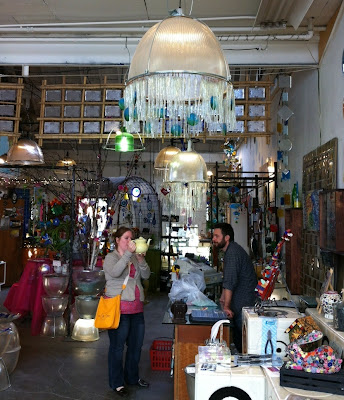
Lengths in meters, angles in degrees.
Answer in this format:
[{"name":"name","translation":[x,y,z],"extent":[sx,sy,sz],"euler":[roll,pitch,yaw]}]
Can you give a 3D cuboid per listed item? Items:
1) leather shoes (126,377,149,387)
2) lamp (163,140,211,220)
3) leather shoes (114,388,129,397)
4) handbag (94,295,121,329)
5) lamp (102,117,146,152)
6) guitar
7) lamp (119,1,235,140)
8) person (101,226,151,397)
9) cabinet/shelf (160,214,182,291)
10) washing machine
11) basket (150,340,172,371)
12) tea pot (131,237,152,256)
[{"name":"leather shoes","translation":[-0.324,1.764,3.407],"extent":[0.218,0.099,0.084],"euler":[-1,-6,2]},{"name":"lamp","translation":[0.138,-0.202,2.967],"extent":[0.334,0.679,0.365],"euler":[1,3,17]},{"name":"leather shoes","translation":[-0.446,1.729,3.185],"extent":[0.112,0.049,0.057],"euler":[-5,-5,30]},{"name":"handbag","translation":[-0.553,0.932,3.028],"extent":[0.186,0.290,0.108],"euler":[8,18,-17]},{"name":"lamp","translation":[-0.660,-0.955,4.853],"extent":[0.498,0.620,0.513],"euler":[-10,14,-30]},{"name":"guitar","translation":[0.604,0.397,2.128],"extent":[0.129,0.453,0.096],"euler":[11,0,2]},{"name":"lamp","translation":[0.022,-0.548,1.540],"extent":[0.457,0.672,0.485],"euler":[0,2,-4]},{"name":"person","translation":[-0.414,1.010,3.215],"extent":[0.425,1.523,0.741],"euler":[1,-6,-3]},{"name":"cabinet/shelf","translation":[-0.049,1.358,9.313],"extent":[0.515,1.933,0.431],"euler":[3,11,16]},{"name":"washing machine","translation":[0.549,0.696,1.978],"extent":[0.286,0.249,0.296],"euler":[0,0,0]},{"name":"basket","translation":[-0.119,1.721,3.922],"extent":[0.190,0.144,0.304],"euler":[-4,-40,-9]},{"name":"tea pot","translation":[-0.247,0.382,2.973],"extent":[0.178,0.152,0.124],"euler":[-1,4,-16]}]
